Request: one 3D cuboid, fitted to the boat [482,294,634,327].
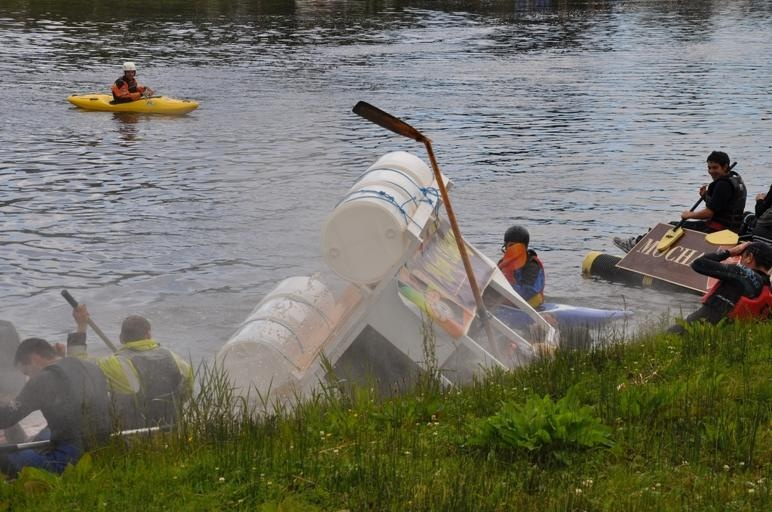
[{"bbox_3d":[4.656,1.569,36.335,3.070,0.727,1.574,-2,-6,-2],"label":"boat"}]

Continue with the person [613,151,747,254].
[{"bbox_3d":[9.487,-1.828,38.583,1.620,2.285,0.972,6,15,11],"label":"person"}]
